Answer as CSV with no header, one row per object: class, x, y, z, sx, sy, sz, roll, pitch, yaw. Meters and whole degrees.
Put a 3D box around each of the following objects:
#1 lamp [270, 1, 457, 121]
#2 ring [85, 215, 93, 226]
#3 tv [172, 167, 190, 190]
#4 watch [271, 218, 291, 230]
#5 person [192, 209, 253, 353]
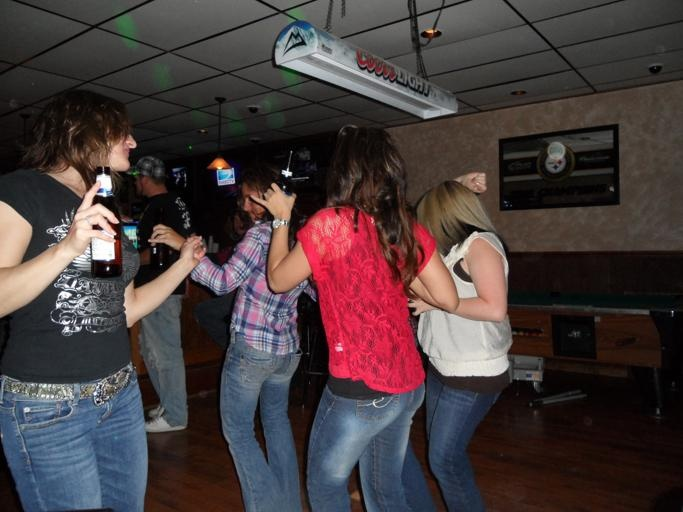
lamp,0.192,-1.273,3.222,1.344,0.366,0.356,-3,5,-45
ring,-0.724,-0.097,1.359,0.031,0.018,0.010,15,-23,45
tv,-3.245,-1.575,9.488,0.393,0.409,0.110,-18,-7,28
watch,-0.236,-0.121,1.910,0.048,0.045,0.045,-12,-4,-15
person,-1.005,0.262,4.185,0.635,1.480,0.552,-3,17,-7
